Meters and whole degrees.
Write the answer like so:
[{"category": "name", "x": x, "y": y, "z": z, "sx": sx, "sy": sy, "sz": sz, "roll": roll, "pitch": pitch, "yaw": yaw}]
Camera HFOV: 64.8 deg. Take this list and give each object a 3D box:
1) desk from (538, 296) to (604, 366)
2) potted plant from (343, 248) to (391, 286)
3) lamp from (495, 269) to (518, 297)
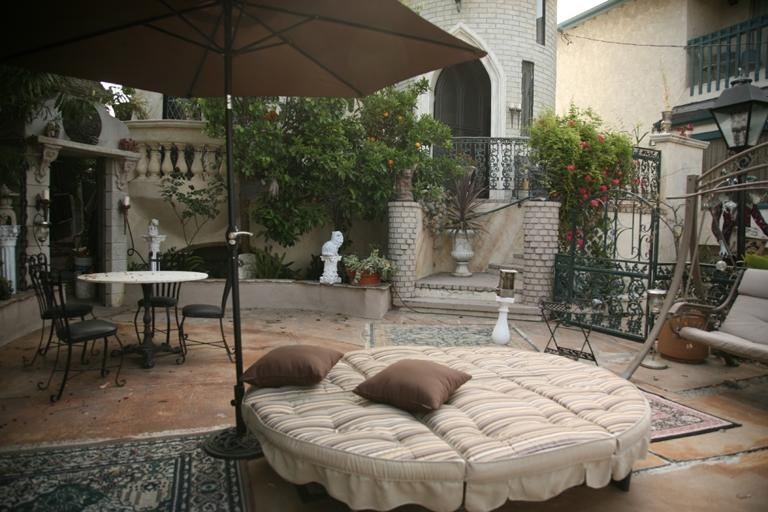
[{"category": "desk", "x": 2.934, "y": 1.054, "z": 9.521, "sx": 0.978, "sy": 1.258, "sz": 1.167, "roll": 5, "pitch": -5, "yaw": -42}, {"category": "potted plant", "x": -0.317, "y": 0.223, "z": 11.094, "sx": 0.717, "sy": 0.487, "sz": 0.717, "roll": 0, "pitch": -4, "yaw": -6}, {"category": "lamp", "x": 1.801, "y": 0.394, "z": 9.057, "sx": 0.393, "sy": 0.553, "sz": 0.392, "roll": 1, "pitch": 2, "yaw": -3}]
